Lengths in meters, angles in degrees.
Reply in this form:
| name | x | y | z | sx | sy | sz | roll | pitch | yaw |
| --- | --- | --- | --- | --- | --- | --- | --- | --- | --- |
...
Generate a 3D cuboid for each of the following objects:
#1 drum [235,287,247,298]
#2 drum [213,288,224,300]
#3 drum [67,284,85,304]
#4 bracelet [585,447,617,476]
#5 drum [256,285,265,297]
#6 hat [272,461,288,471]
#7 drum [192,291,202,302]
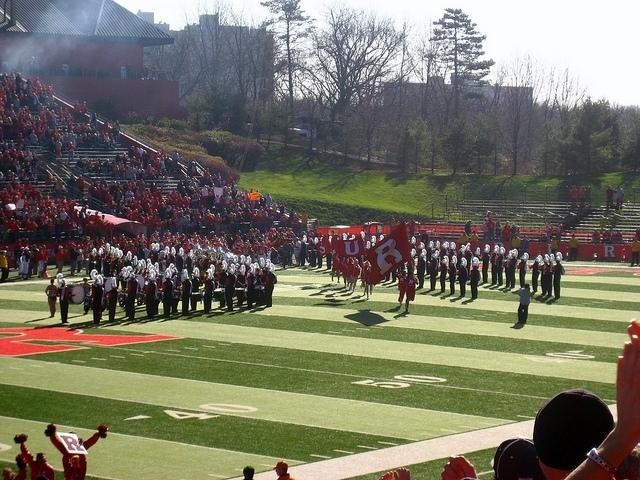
| name | x | y | z | sx | sy | sz | roll | pitch | yaw |
| --- | --- | --- | --- | --- | --- | --- | --- | --- | --- |
| drum | -3.009 | 1.949 | 38.652 | 0.548 | 0.386 | 0.225 | 3 | -1 | -37 |
| drum | -3.768 | 1.965 | 38.249 | 0.427 | 0.451 | 0.367 | 2 | 0 | -14 |
| drum | -8.113 | 1.751 | 34.525 | 0.300 | 0.562 | 0.489 | -9 | -23 | 38 |
| bracelet | 4.054 | 3.221 | 15.085 | 0.362 | 0.138 | 0.357 | 42 | 14 | 25 |
| drum | -2.272 | 1.853 | 38.610 | 0.314 | 0.429 | 0.207 | 2 | 0 | -6 |
| hat | -0.696 | 3.978 | 18.330 | 0.181 | 0.155 | 0.279 | 2 | 0 | 5 |
| drum | -4.474 | 1.997 | 37.452 | 0.278 | 0.228 | 0.294 | 4 | -1 | 0 |
